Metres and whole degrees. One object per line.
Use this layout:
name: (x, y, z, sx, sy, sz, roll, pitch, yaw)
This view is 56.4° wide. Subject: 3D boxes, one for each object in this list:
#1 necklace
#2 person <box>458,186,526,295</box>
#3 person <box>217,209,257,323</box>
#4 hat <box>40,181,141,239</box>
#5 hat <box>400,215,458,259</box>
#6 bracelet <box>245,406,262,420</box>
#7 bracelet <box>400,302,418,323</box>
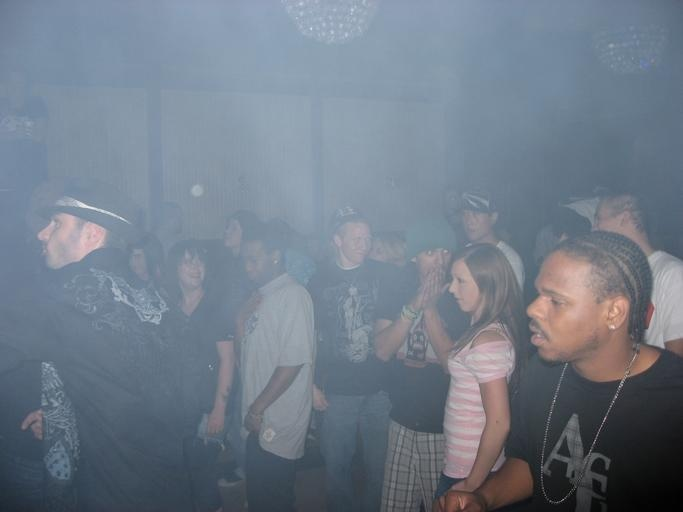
necklace: (1.312, 0.941, 3.389, 0.317, 1.132, 0.049, 20, 4, 11)
person: (1.221, -0.101, 5.317, 0.435, 0.870, 0.875, -3, -2, -16)
person: (-0.836, 0.100, 5.150, 0.341, 0.271, 1.122, 6, 51, -11)
hat: (-1.550, -0.243, 3.995, 0.383, 0.172, 0.461, 28, 4, 35)
hat: (0.917, -0.223, 6.731, 0.507, 0.400, 0.417, -20, -5, -28)
bracelet: (-0.603, 1.086, 4.429, 0.118, 0.052, 0.037, 0, 8, 16)
bracelet: (0.472, 0.397, 4.493, 0.046, 0.096, 0.117, 27, -8, -42)
